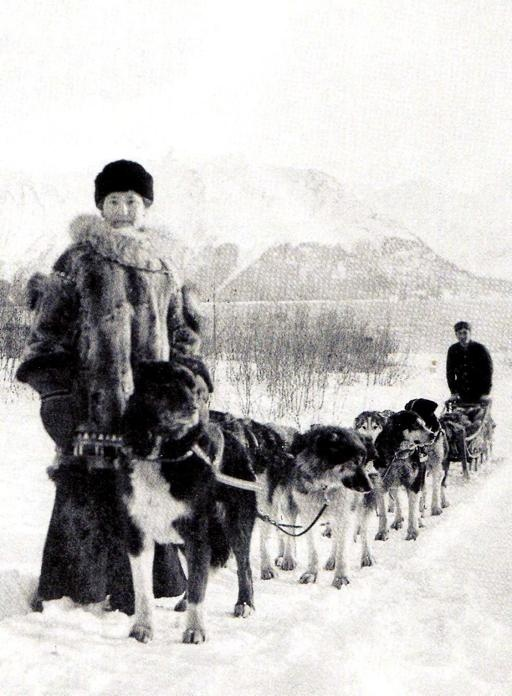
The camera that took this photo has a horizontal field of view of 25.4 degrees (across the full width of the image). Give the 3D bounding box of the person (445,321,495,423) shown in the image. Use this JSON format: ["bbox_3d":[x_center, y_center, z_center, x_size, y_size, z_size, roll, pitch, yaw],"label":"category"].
[{"bbox_3d":[2.321,0.178,12.322,0.514,0.950,0.531,5,6,10],"label":"person"}]

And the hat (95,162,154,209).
[{"bbox_3d":[-0.740,-0.940,6.303,0.267,0.216,0.271,0,-3,-10],"label":"hat"}]
